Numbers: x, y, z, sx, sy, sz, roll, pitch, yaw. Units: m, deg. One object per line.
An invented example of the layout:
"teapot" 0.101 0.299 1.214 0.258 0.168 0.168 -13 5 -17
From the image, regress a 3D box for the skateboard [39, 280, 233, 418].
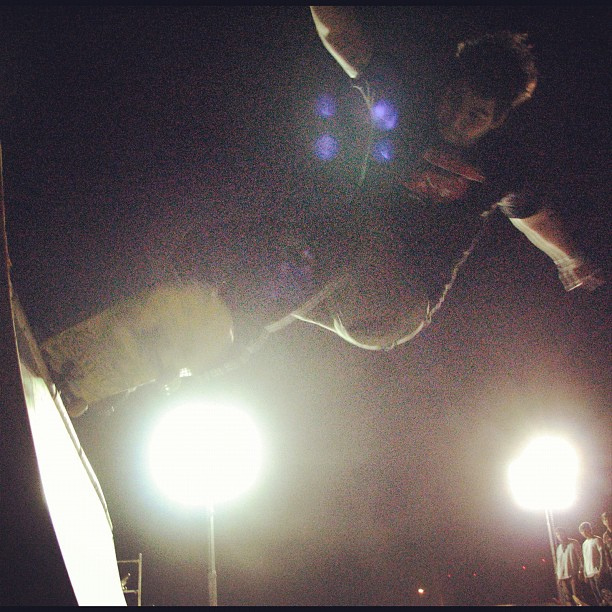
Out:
"skateboard" -0.605 0.139 3.304 0.695 0.226 0.295 -21 -60 5
